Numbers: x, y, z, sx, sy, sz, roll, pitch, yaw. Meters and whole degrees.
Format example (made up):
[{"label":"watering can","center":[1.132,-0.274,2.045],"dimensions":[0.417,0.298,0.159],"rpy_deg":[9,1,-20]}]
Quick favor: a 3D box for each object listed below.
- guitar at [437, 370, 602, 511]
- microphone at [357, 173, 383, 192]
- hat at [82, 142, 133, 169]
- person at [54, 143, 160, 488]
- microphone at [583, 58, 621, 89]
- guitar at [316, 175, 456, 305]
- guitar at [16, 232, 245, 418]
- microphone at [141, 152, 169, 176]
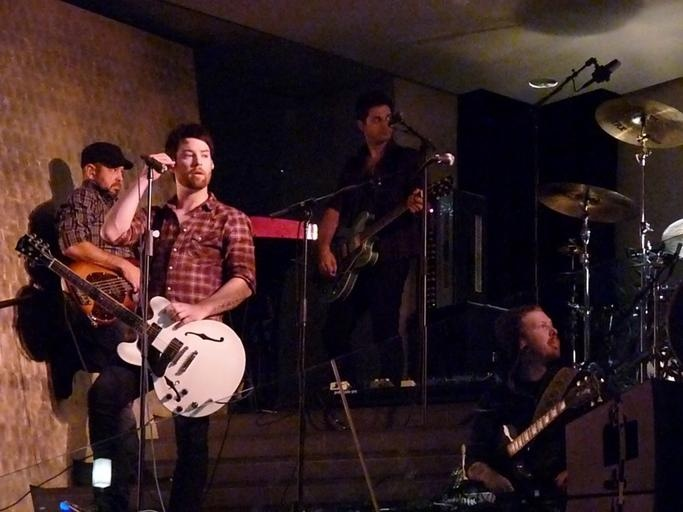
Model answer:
[{"label":"guitar","center":[1.029,1.053,4.526],"dimensions":[0.691,0.806,0.609],"rpy_deg":[2,5,-41]},{"label":"microphone","center":[0.220,-0.552,6.049],"dimensions":[0.240,0.034,0.094],"rpy_deg":[-18,39,-34]},{"label":"hat","center":[-1.508,-0.645,5.231],"dimensions":[0.221,0.115,0.172],"rpy_deg":[-1,-1,-3]},{"label":"person","center":[-1.560,0.212,5.083],"dimensions":[0.205,1.819,0.690],"rpy_deg":[-14,-8,34]},{"label":"microphone","center":[2.140,-1.528,6.663],"dimensions":[0.104,0.290,0.105],"rpy_deg":[41,11,-12]},{"label":"guitar","center":[0.396,-0.106,5.549],"dimensions":[0.679,0.247,1.761],"rpy_deg":[18,-28,-3]},{"label":"guitar","center":[-1.180,0.511,5.045],"dimensions":[1.781,0.697,0.185],"rpy_deg":[38,-16,-2]},{"label":"microphone","center":[-1.029,-0.509,4.466],"dimensions":[0.140,0.062,0.079],"rpy_deg":[24,-13,-11]}]
